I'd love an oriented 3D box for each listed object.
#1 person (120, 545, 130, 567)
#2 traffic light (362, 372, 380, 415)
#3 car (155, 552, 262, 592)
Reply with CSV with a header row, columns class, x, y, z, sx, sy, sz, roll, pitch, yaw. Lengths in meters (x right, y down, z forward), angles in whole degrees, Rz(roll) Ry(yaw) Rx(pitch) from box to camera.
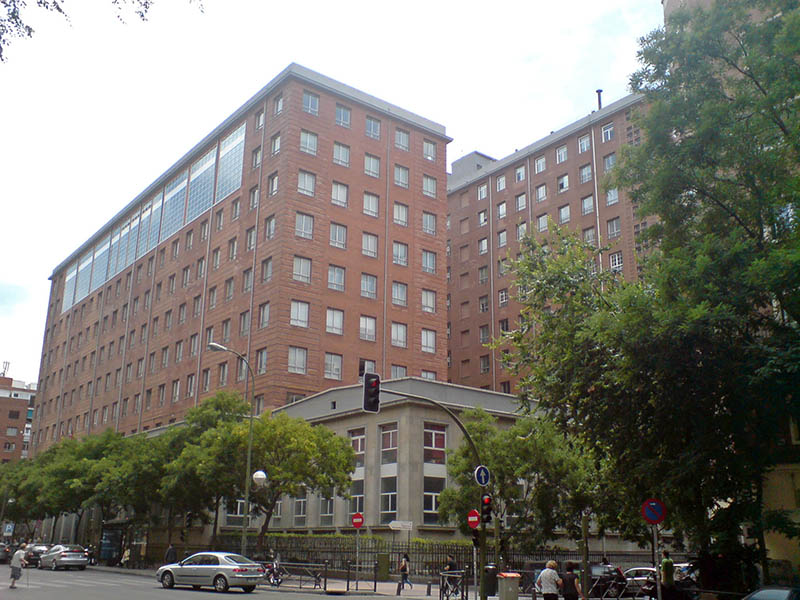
class,x,y,z,sx,sy,sz,roll,pitch,yaw
person,-20.371,18.981,53.643,0.472,1.444,1.061,6,-8,-16
traffic light,-1.048,3.179,25.584,0.581,1.430,0.733,4,-23,-10
car,-8.197,11.696,31.166,4.701,1.691,0.904,-11,-25,22
